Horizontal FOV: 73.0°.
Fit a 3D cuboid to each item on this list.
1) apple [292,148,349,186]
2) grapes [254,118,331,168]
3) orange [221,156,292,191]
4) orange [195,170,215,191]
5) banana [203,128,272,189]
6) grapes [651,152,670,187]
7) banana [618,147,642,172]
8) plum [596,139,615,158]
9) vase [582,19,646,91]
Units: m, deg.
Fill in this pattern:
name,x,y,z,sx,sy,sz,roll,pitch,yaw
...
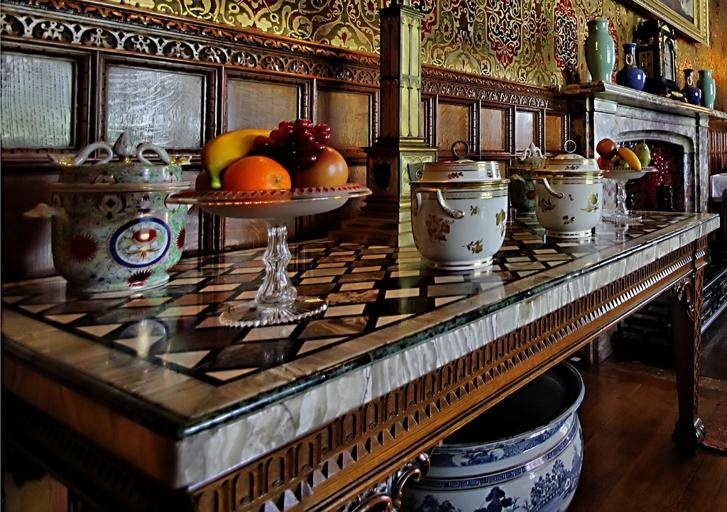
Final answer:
name,x,y,z,sx,sy,sz,roll,pitch,yaw
apple,-0.055,-0.127,0.699,0.072,0.053,0.058,14,14,39
grapes,-0.092,-0.148,0.642,0.081,0.049,0.066,-21,-32,19
orange,-0.135,-0.101,0.642,0.080,0.042,0.114,13,10,38
orange,-0.208,-0.101,0.656,0.021,0.027,0.037,2,7,-5
banana,-0.185,-0.133,0.686,0.060,0.076,0.096,12,12,33
grapes,2.038,-0.596,3.374,0.130,0.219,0.078,-2,10,-8
banana,0.841,-0.305,1.554,0.068,0.067,0.072,5,12,23
plum,0.834,-0.367,1.685,0.059,0.065,0.138,5,13,25
vase,1.252,-1.023,2.438,0.246,0.384,0.637,6,13,30
